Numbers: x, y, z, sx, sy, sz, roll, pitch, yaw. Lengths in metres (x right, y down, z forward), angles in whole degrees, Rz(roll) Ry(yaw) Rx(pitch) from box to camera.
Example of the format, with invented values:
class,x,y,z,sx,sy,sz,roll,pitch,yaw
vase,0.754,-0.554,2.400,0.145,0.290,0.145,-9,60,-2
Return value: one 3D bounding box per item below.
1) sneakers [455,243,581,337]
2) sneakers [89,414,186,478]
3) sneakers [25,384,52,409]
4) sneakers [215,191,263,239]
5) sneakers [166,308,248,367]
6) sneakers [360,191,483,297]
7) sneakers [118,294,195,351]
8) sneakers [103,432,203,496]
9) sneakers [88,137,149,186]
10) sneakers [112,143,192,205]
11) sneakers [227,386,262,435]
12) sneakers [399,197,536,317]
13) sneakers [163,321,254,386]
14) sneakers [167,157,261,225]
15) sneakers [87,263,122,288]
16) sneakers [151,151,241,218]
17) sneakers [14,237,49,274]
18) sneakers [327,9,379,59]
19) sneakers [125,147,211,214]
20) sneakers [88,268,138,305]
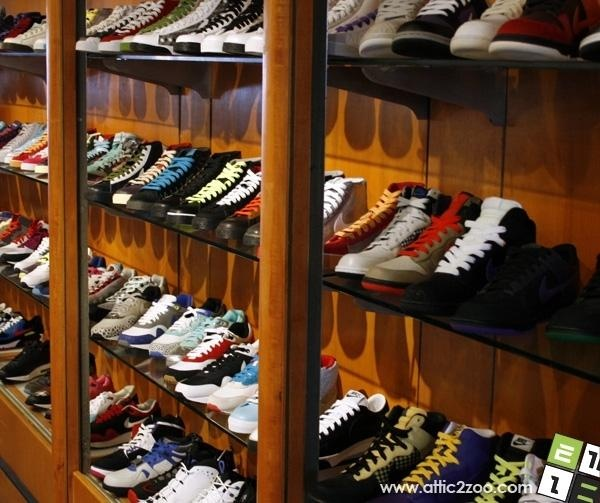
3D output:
class,x,y,z,sx,sy,sz,roll,pitch,yaw
sneakers,0.343,0.046,0.830,0.263,0.099,0.093,-16,14,-39
sneakers,-0.483,0.577,1.625,0.319,0.128,0.105,-13,22,-38
sneakers,-0.963,0.549,1.962,0.056,0.062,0.144,2,-5,43
sneakers,-0.144,-0.093,1.272,0.063,0.083,0.192,16,29,36
sneakers,-0.252,0.230,1.516,0.103,0.115,0.300,17,31,40
sneakers,0.233,-0.040,1.015,0.341,0.137,0.105,-26,31,-37
sneakers,-0.455,0.218,1.664,0.097,0.118,0.288,7,16,35
sneakers,-0.410,0.601,1.550,0.318,0.120,0.107,-11,15,-35
sneakers,-0.656,-0.322,1.829,0.090,0.119,0.285,29,32,8
sneakers,-0.488,-0.256,1.665,0.114,0.151,0.367,18,27,26
sneakers,-0.124,0.376,1.211,0.060,0.065,0.162,3,-4,17
sneakers,0.292,-0.005,0.945,0.334,0.174,0.123,-14,23,-37
sneakers,-0.231,0.266,1.465,0.294,0.111,0.099,-24,24,-37
sneakers,-0.175,-0.182,1.466,0.126,0.138,0.368,21,33,36
sneakers,-0.721,0.087,1.891,0.046,0.049,0.132,-3,3,25
sneakers,-0.304,-0.214,1.593,0.109,0.136,0.369,21,36,34
sneakers,-1.176,0.026,2.252,0.074,0.092,0.224,23,29,23
sneakers,0.103,-0.392,0.955,0.157,0.063,0.054,-23,25,-39
sneakers,-0.398,-0.231,1.590,0.114,0.147,0.373,19,29,28
sneakers,-0.688,0.116,1.841,0.062,0.070,0.183,-12,3,22
